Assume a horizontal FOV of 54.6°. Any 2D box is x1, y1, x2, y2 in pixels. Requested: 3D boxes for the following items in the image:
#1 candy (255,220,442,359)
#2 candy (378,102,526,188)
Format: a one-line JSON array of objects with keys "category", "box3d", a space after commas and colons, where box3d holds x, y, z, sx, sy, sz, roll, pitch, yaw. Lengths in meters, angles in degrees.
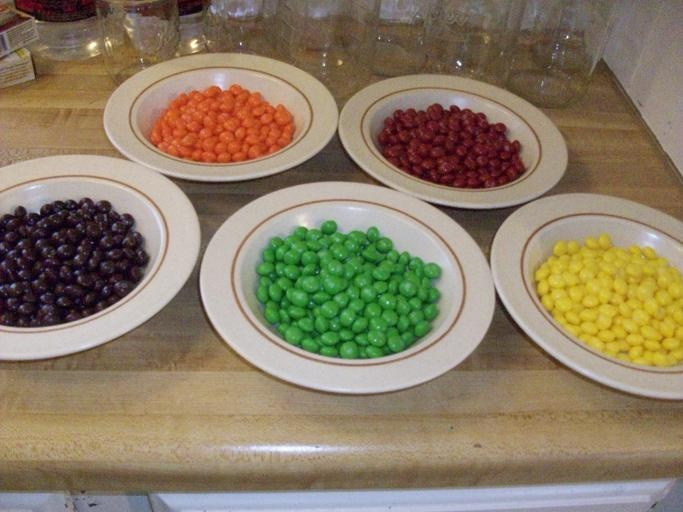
[{"category": "candy", "box3d": [0.017, -0.002, 1.211, 0.268, 0.116, 0.274, 31, 47, 31]}, {"category": "candy", "box3d": [0.226, -0.238, 1.386, 0.355, 0.185, 0.264, 3, 36, 5]}]
